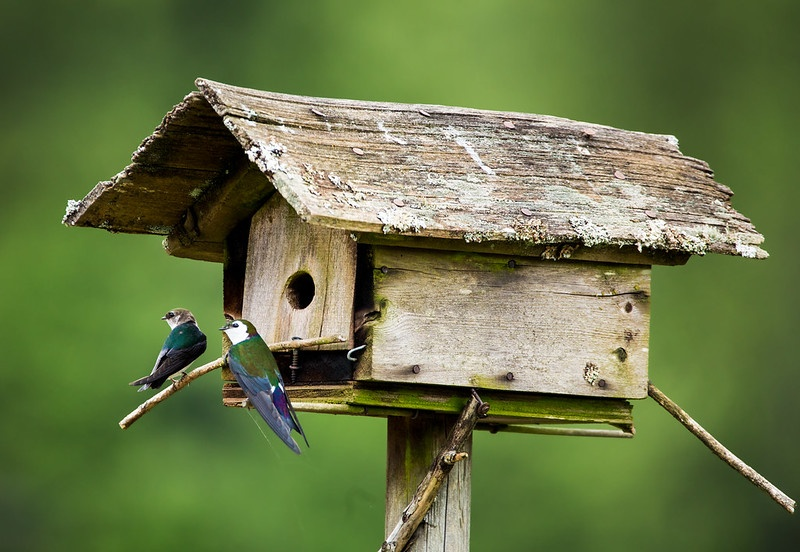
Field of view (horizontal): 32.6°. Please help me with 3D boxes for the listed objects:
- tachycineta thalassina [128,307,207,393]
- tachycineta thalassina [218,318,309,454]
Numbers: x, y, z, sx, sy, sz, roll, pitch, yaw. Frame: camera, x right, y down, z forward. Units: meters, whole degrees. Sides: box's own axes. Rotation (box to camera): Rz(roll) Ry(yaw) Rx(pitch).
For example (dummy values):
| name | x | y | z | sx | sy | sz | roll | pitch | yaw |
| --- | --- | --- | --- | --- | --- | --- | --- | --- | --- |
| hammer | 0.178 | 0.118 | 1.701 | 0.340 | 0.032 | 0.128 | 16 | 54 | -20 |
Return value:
| name | x | y | z | sx | sy | sz | roll | pitch | yaw |
| --- | --- | --- | --- | --- | --- | --- | --- | --- | --- |
| tachycineta thalassina | -1.367 | 0.429 | 8.251 | 0.322 | 0.421 | 0.669 | -4 | 12 | 30 |
| tachycineta thalassina | -0.676 | 0.546 | 7.115 | 0.235 | 0.757 | 0.327 | -11 | -43 | -52 |
